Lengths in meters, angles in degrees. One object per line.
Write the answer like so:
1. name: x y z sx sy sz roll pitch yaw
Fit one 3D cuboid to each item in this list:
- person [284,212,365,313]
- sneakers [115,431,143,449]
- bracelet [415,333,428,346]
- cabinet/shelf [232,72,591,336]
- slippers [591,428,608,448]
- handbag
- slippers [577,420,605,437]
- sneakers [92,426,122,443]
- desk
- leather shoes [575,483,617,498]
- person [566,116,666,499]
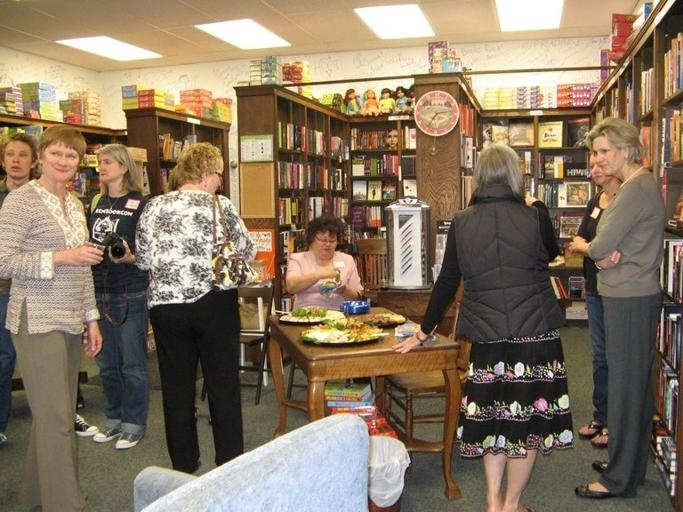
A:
1. person: -0.153 0.048 4.298 0.585 0.743 0.811 0 2 6
2. sneakers: -1.565 1.354 4.097 0.079 0.079 0.208 0 -9 4
3. bracelet: 0.451 0.455 3.143 0.064 0.081 0.035 7 14 18
4. cabinet/shelf: 0.704 -0.909 7.570 4.365 4.026 3.173 0 0 8
5. slippers: 1.849 1.305 4.009 0.085 0.056 0.219 -4 -5 37
6. handbag: -0.614 -0.083 3.199 0.245 0.532 0.128 -1 2 -13
7. slippers: 1.856 1.285 4.169 0.174 0.061 0.089 -16 27 15
8. sneakers: -1.754 1.358 4.254 0.082 0.092 0.226 -3 -9 34
9. desk: 0.092 0.573 3.645 1.015 1.032 1.643 -2 6 -11
10. leather shoes: 1.514 1.408 3.344 0.231 0.058 0.089 3 -1 7
11. person: 1.650 0.308 3.321 0.454 2.261 0.313 0 2 24
